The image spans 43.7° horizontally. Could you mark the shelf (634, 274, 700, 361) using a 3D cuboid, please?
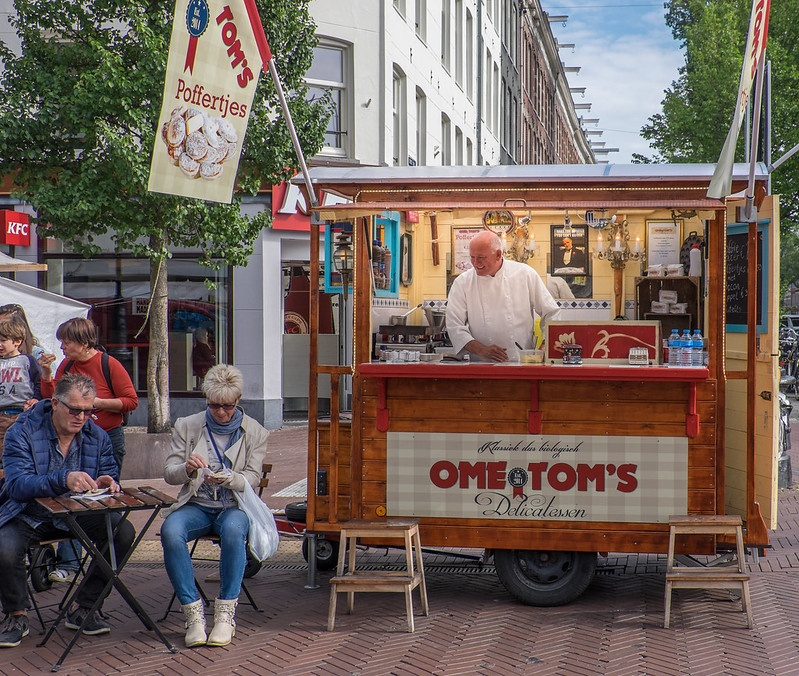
[{"bbox_3d":[2.936,-0.113,10.829,0.667,1.208,0.302,2,4,34],"label":"shelf"}]

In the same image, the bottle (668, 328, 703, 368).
[{"bbox_3d":[2.163,0.071,7.560,0.257,0.271,0.249,1,-3,-42],"label":"bottle"}]

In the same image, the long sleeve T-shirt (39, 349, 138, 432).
[{"bbox_3d":[-2.418,0.383,8.111,0.792,0.881,0.597,-1,-1,31],"label":"long sleeve T-shirt"}]

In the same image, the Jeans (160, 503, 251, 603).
[{"bbox_3d":[-1.343,1.522,7.164,0.663,0.988,0.627,0,-19,-7],"label":"Jeans"}]

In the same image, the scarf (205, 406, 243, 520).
[{"bbox_3d":[-1.272,0.853,7.160,0.295,0.626,0.138,3,0,-2],"label":"scarf"}]

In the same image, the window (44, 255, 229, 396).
[{"bbox_3d":[-3.547,-0.317,13.545,1.974,1.641,0.076,0,2,-4],"label":"window"}]

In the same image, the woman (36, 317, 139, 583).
[{"bbox_3d":[-2.436,0.870,8.019,0.673,2.104,0.625,-2,4,-15],"label":"woman"}]

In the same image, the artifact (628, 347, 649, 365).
[{"bbox_3d":[1.788,0.127,7.484,0.149,0.124,0.167,1,4,15],"label":"artifact"}]

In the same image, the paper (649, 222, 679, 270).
[{"bbox_3d":[3.034,-1.098,11.491,0.372,0.575,0.032,2,31,17],"label":"paper"}]

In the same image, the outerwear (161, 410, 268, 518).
[{"bbox_3d":[-1.336,0.952,7.221,0.631,0.878,0.543,8,12,-17],"label":"outerwear"}]

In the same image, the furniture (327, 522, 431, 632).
[{"bbox_3d":[-0.139,1.693,7.419,0.716,0.714,0.940,0,3,2],"label":"furniture"}]

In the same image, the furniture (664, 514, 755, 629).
[{"bbox_3d":[2.234,1.654,7.196,0.740,0.812,0.609,0,-5,7],"label":"furniture"}]

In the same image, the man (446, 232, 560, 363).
[{"bbox_3d":[0.919,-0.254,8.853,0.926,1.448,0.815,-2,10,3],"label":"man"}]

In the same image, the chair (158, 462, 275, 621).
[{"bbox_3d":[-1.327,1.589,8.016,0.585,0.768,0.963,10,48,-3],"label":"chair"}]

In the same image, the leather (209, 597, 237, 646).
[{"bbox_3d":[-1.211,1.945,6.901,0.163,0.283,0.307,0,3,3],"label":"leather"}]

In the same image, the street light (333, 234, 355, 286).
[{"bbox_3d":[-0.481,-0.683,8.838,0.229,0.489,0.241,1,5,37],"label":"street light"}]

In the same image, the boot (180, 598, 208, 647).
[{"bbox_3d":[-1.399,1.954,6.837,0.136,0.262,0.391,-8,2,-11],"label":"boot"}]

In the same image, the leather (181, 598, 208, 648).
[{"bbox_3d":[-1.399,1.949,6.869,0.162,0.286,0.281,-1,3,-13],"label":"leather"}]

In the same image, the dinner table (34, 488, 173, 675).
[{"bbox_3d":[-2.009,1.570,6.870,0.895,1.061,0.872,-1,4,-22],"label":"dinner table"}]
